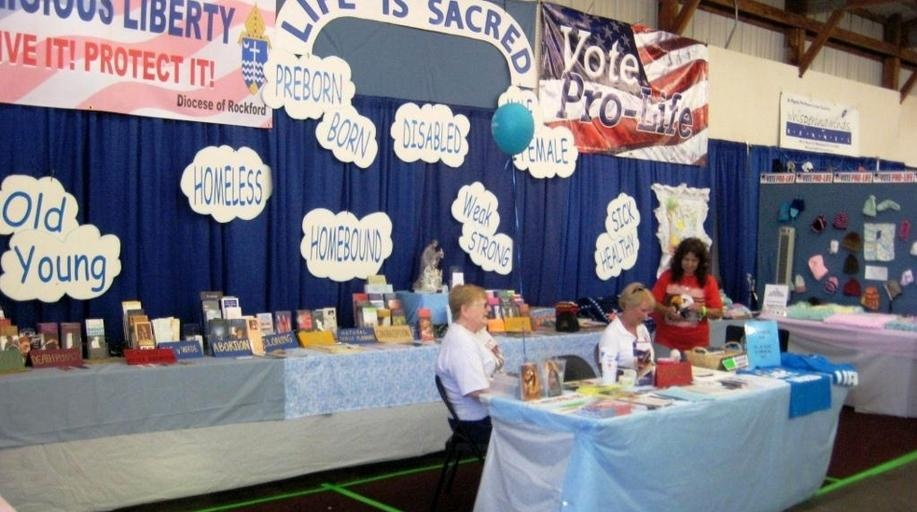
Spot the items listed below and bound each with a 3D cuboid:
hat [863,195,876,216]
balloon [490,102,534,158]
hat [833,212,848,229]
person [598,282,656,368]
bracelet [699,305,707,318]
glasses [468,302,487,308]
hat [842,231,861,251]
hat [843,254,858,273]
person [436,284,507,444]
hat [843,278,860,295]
[{"bbox_3d":[5.853,-0.718,10.073,0.150,0.278,0.065,9,-6,40],"label":"hat"},{"bbox_3d":[0.641,-1.341,8.032,0.468,0.754,0.477,1,-5,-15],"label":"balloon"},{"bbox_3d":[5.541,-0.514,10.257,0.158,0.233,0.064,15,10,35],"label":"hat"},{"bbox_3d":[1.551,0.636,6.545,0.535,0.784,0.636,-3,-1,5],"label":"person"},{"bbox_3d":[2.601,0.588,7.512,0.086,0.105,0.038,0,-28,3],"label":"bracelet"},{"bbox_3d":[0.190,0.422,6.260,0.167,0.045,0.054,-2,-2,-40],"label":"glasses"},{"bbox_3d":[5.663,-0.211,10.173,0.201,0.255,0.066,7,4,37],"label":"hat"},{"bbox_3d":[5.647,0.105,10.177,0.172,0.251,0.063,0,3,21],"label":"hat"},{"bbox_3d":[0.070,0.978,6.262,0.527,1.342,0.286,-3,-1,32],"label":"person"},{"bbox_3d":[5.657,0.444,10.178,0.219,0.270,0.067,-3,-1,28],"label":"hat"}]
